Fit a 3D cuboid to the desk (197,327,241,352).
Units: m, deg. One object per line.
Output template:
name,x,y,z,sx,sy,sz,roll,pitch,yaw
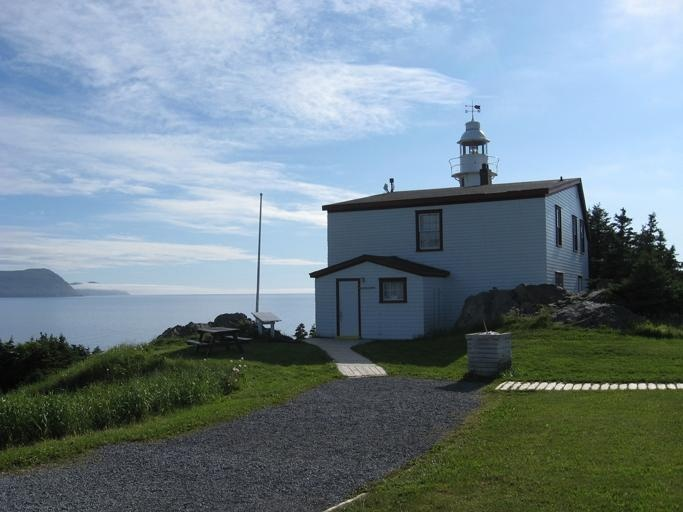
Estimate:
desk,-4.244,2.885,20.667,1.336,0.653,1.422,0,-1,-39
